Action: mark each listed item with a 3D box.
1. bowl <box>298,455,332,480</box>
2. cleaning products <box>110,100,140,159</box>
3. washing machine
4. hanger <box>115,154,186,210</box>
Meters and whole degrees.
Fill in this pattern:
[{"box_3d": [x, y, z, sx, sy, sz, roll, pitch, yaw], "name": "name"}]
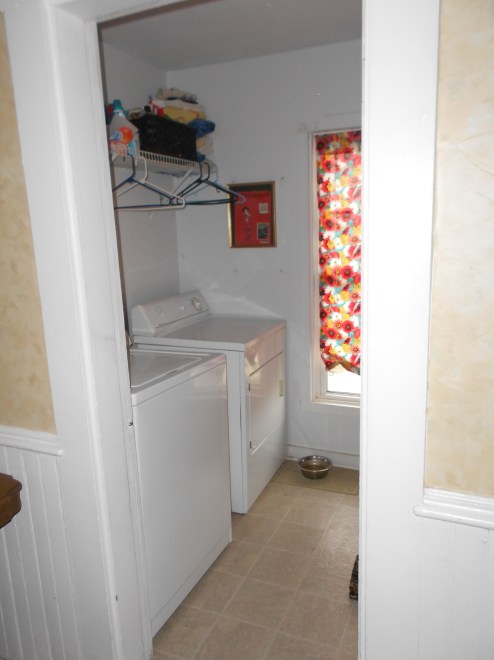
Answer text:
[{"box_3d": [0.386, 0.793, 3.078, 0.190, 0.079, 0.229, -1, 10, 7], "name": "bowl"}, {"box_3d": [-0.496, -0.787, 2.163, 0.099, 0.256, 0.117, 3, 16, 5], "name": "cleaning products"}, {"box_3d": [-0.144, 0.349, 2.904, 0.545, 1.040, 0.723, 1, 11, 19], "name": "washing machine"}, {"box_3d": [-0.479, -0.716, 2.596, 0.407, 0.258, 0.027, 10, 25, 38], "name": "hanger"}]
